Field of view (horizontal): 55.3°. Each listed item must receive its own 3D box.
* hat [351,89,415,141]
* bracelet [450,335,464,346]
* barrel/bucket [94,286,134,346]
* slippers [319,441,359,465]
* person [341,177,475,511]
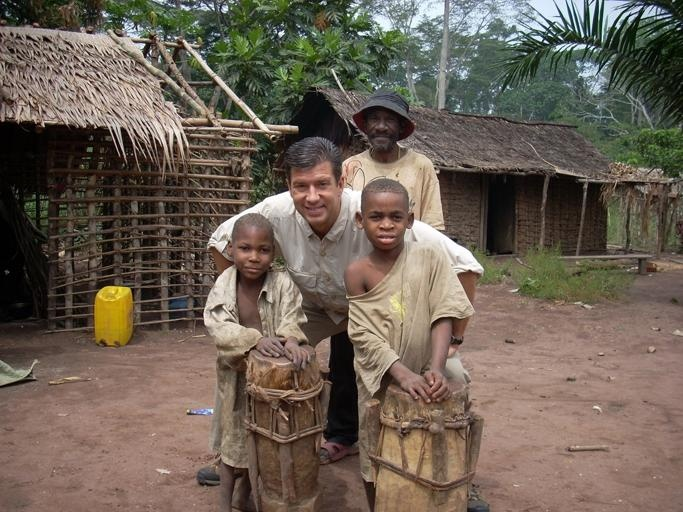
[{"bbox_3d":[0.463,-1.307,5.901,0.480,0.282,0.549,-12,-41,23],"label":"hat"},{"bbox_3d":[0.844,0.617,4.809,0.068,0.047,0.094,3,-7,18],"label":"bracelet"},{"bbox_3d":[-3.134,0.806,8.914,0.444,0.769,0.493,0,11,-6],"label":"barrel/bucket"},{"bbox_3d":[0.054,1.716,5.718,0.511,0.194,0.169,11,-12,-41],"label":"slippers"},{"bbox_3d":[0.424,0.632,4.507,0.851,2.297,0.733,3,12,9],"label":"person"}]
